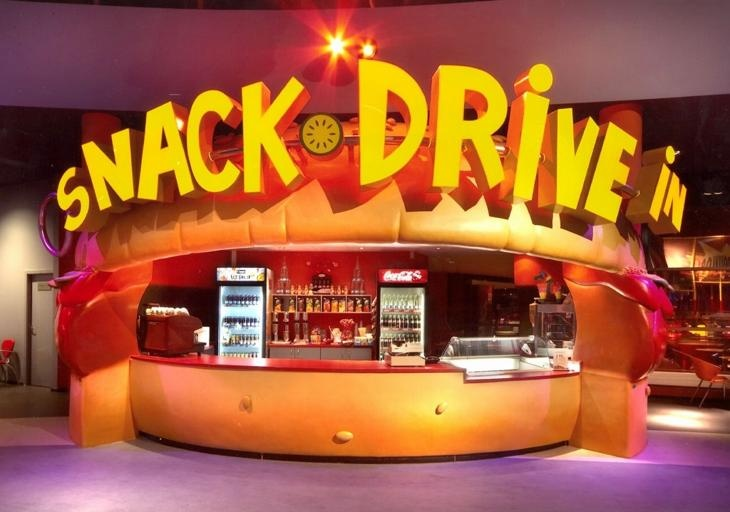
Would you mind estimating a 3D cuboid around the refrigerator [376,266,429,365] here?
[{"bbox_3d":[0.710,1.342,11.292,0.945,0.664,2.416,2,39,3],"label":"refrigerator"}]

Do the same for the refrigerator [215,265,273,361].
[{"bbox_3d":[-2.586,1.139,11.870,0.990,2.353,0.675,2,26,-12],"label":"refrigerator"}]

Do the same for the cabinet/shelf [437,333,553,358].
[{"bbox_3d":[2.021,1.402,8.856,1.714,0.370,0.301,-2,12,-10],"label":"cabinet/shelf"}]

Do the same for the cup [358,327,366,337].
[{"bbox_3d":[-0.085,1.556,11.741,0.144,0.172,0.151,-3,-8,0],"label":"cup"}]
